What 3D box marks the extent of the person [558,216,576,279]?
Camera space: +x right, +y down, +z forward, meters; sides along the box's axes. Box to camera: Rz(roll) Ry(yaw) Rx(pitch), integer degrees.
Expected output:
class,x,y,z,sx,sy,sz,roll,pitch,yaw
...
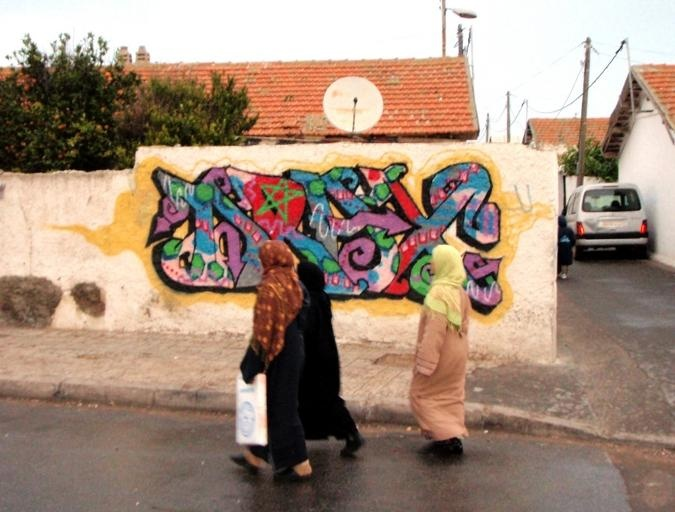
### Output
class,x,y,z,sx,sy,sz,roll,pitch,yaw
person,5.162,-0.227,17.615,0.341,1.380,1.468,2,8,16

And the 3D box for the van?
class,x,y,z,sx,sy,sz,roll,pitch,yaw
van,6.944,-0.963,20.015,1.352,1.411,2.727,-1,9,6

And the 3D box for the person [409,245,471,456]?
class,x,y,z,sx,sy,sz,roll,pitch,yaw
person,1.115,0.992,8.452,0.628,2.190,0.509,1,8,6
